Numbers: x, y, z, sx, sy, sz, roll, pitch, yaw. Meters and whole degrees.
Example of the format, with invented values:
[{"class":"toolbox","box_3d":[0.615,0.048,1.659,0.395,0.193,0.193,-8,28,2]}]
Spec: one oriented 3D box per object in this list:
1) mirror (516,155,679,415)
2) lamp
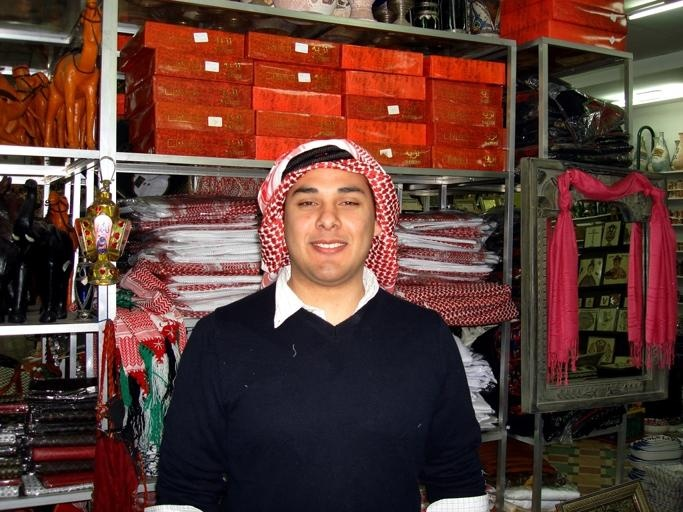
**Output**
[{"class":"mirror","box_3d":[1.232,0.145,3.095,0.764,1.244,0.131,0,-4,-26]},{"class":"lamp","box_3d":[-0.972,-0.099,2.453,0.193,0.433,0.137,-3,-4,24]}]
